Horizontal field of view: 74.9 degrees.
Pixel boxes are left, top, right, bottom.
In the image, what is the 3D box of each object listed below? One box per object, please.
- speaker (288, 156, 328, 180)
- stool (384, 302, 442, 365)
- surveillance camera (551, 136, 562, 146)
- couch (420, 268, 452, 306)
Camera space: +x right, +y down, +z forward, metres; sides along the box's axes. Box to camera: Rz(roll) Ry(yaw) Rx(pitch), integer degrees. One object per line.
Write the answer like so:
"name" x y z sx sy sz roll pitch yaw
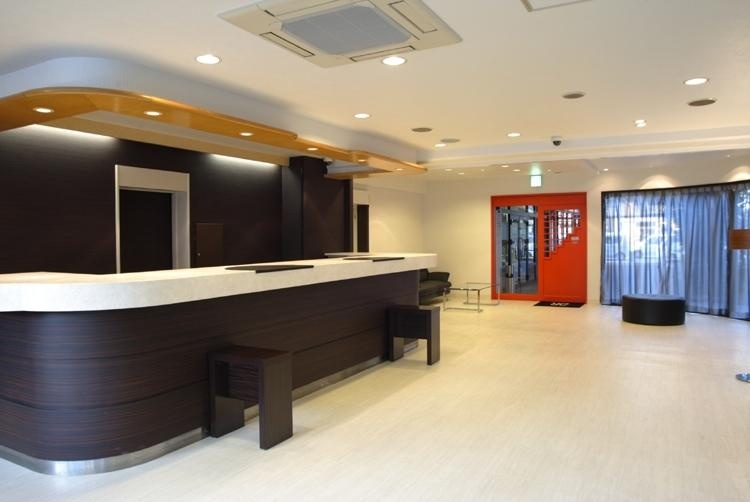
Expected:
"speaker" -1.216 -1.351 8.552 0.409 0.328 0.776 3 2 35
"stool" 0.509 1.160 6.880 0.991 0.932 0.563 1 2 22
"surveillance camera" 3.162 -1.907 8.484 0.137 0.103 0.126 -1 -1 6
"couch" 1.353 0.817 11.666 0.775 0.649 1.514 0 2 27
